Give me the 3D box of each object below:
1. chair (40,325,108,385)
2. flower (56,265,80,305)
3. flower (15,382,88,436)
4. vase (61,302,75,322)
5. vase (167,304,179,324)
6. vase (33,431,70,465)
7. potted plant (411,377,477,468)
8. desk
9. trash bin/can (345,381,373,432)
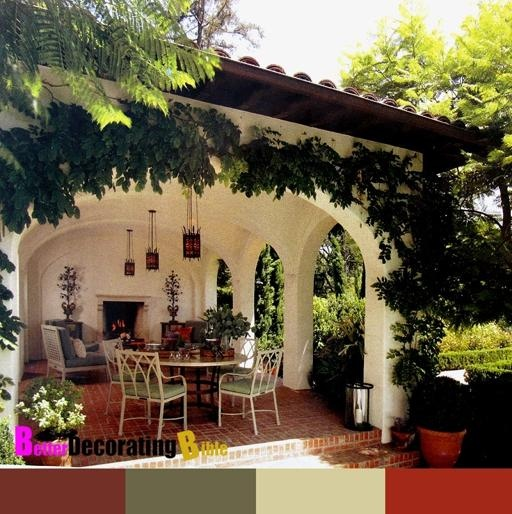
[{"bbox_3d":[-3.426,1.768,9.182,1.016,1.024,1.944,7,-9,-35],"label":"chair"},{"bbox_3d":[-4.794,0.675,12.809,0.551,0.976,0.192,3,-6,-12],"label":"flower"},{"bbox_3d":[-2.118,1.519,5.057,0.601,0.515,0.664,-4,-9,38],"label":"flower"},{"bbox_3d":[-4.795,1.377,12.698,0.340,0.491,0.309,3,-7,-9],"label":"vase"},{"bbox_3d":[-2.262,1.524,13.615,0.420,0.742,0.346,2,-10,-11],"label":"vase"},{"bbox_3d":[-1.989,1.898,4.844,0.311,0.277,0.254,2,-7,-3],"label":"vase"},{"bbox_3d":[2.199,1.941,5.917,0.694,0.996,0.641,0,-7,13],"label":"potted plant"},{"bbox_3d":[-1.109,1.642,6.861,1.044,1.087,1.927,-1,-2,26],"label":"desk"},{"bbox_3d":[1.202,1.861,6.294,0.413,0.684,0.424,1,-4,-4],"label":"trash bin/can"}]
